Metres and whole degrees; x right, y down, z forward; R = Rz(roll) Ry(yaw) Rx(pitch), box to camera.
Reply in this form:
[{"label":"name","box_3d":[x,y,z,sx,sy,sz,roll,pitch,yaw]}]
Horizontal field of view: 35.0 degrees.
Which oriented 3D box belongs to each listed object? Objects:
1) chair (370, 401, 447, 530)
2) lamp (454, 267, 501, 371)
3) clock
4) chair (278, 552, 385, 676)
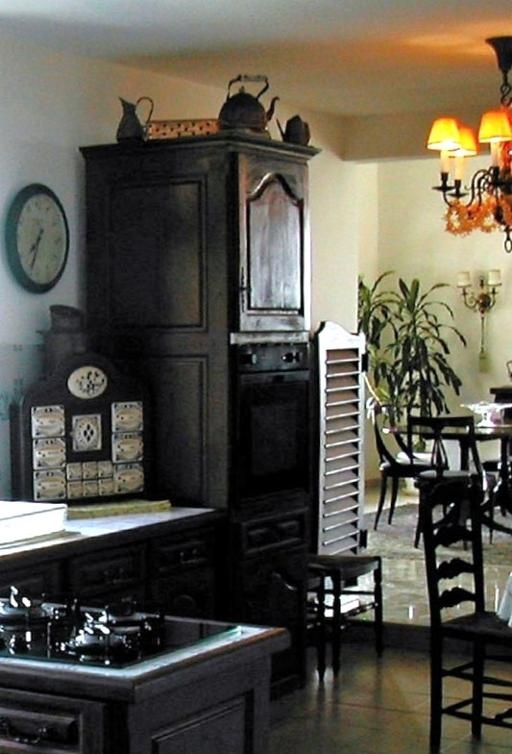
[{"label":"chair","box_3d":[1.222,0.720,6.559,0.735,0.903,0.697,-2,-9,-4]},{"label":"lamp","box_3d":[2.219,-0.542,8.056,0.435,0.992,0.213,-2,0,23]},{"label":"clock","box_3d":[-0.854,-0.531,3.123,0.065,0.403,0.442,1,11,18]},{"label":"chair","box_3d":[0.346,1.095,3.855,0.356,0.434,0.653,9,-23,-9]}]
